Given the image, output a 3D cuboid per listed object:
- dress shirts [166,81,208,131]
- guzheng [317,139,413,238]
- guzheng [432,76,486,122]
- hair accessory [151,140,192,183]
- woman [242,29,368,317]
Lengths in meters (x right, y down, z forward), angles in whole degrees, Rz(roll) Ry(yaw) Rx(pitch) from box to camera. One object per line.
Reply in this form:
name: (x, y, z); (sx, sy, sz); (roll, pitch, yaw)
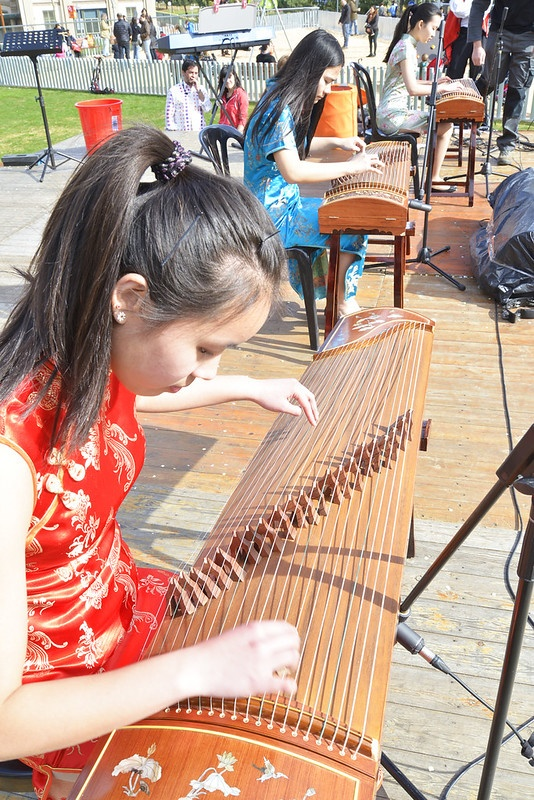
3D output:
dress shirts: (-1.041, -3.999, 8.627); (0.607, 0.719, 0.381); (-5, 14, -4)
guzheng: (0.573, -1.342, 3.540); (0.462, 0.248, 0.991); (3, 53, 7)
guzheng: (1.679, -2.589, 5.498); (0.405, 0.277, 0.353); (6, 26, 12)
hair accessory: (-0.131, -0.329, 0.876); (0.029, 0.051, 0.066); (42, 13, -6)
woman: (0.222, -1.229, 3.665); (0.780, 1.583, 0.740); (-1, 28, 8)
